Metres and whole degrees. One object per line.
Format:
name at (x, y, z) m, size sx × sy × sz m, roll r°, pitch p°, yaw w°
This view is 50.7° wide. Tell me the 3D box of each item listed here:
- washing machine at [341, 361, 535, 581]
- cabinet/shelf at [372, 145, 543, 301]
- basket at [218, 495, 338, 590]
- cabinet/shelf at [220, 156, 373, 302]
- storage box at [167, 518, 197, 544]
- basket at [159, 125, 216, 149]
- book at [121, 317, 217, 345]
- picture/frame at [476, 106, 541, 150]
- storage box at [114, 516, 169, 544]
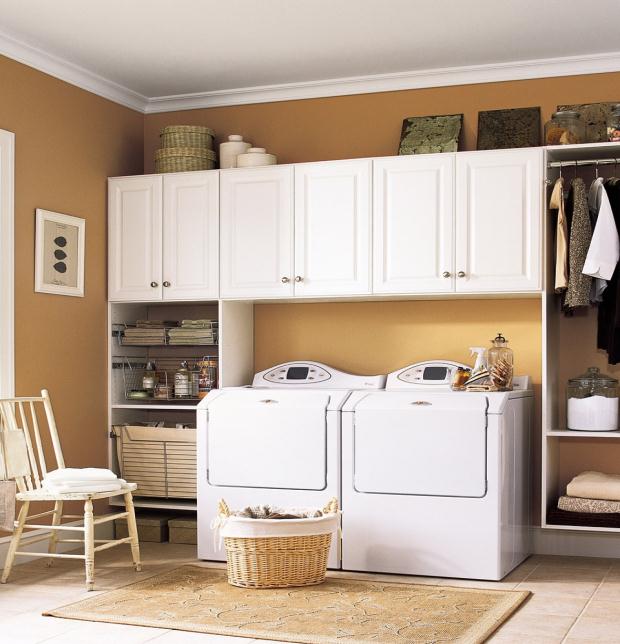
washing machine at (0.537, 0.747, 3.402) m, size 1.004 × 1.062 × 0.917 m, roll -2°, pitch -6°, yaw 25°
cabinet/shelf at (0.935, -0.568, 3.512) m, size 1.045 × 0.706 × 0.345 m, roll -4°, pitch 7°, yaw -18°
basket at (-0.150, 0.967, 2.892) m, size 0.585 × 0.290 × 0.381 m, roll 0°, pitch -9°, yaw -5°
cabinet/shelf at (0.022, -0.520, 3.755) m, size 1.031 × 0.721 × 0.370 m, roll 4°, pitch 7°, yaw 35°
storage box at (-0.745, 1.216, 3.795) m, size 0.148 × 0.127 × 0.201 m, roll 2°, pitch -10°, yaw -14°
basket at (-0.753, -1.120, 3.979) m, size 0.223 × 0.070 × 0.205 m, roll 0°, pitch 1°, yaw 22°
book at (-0.854, 0.064, 3.997) m, size 0.657 × 0.182 × 0.175 m, roll -4°, pitch -10°, yaw 21°
picture/frame at (1.078, -1.057, 3.560) m, size 0.336 × 0.273 × 0.102 m, roll -3°, pitch -11°, yaw 14°
storage box at (-0.954, 1.181, 3.820) m, size 0.228 × 0.084 × 0.202 m, roll 0°, pitch -4°, yaw 14°
